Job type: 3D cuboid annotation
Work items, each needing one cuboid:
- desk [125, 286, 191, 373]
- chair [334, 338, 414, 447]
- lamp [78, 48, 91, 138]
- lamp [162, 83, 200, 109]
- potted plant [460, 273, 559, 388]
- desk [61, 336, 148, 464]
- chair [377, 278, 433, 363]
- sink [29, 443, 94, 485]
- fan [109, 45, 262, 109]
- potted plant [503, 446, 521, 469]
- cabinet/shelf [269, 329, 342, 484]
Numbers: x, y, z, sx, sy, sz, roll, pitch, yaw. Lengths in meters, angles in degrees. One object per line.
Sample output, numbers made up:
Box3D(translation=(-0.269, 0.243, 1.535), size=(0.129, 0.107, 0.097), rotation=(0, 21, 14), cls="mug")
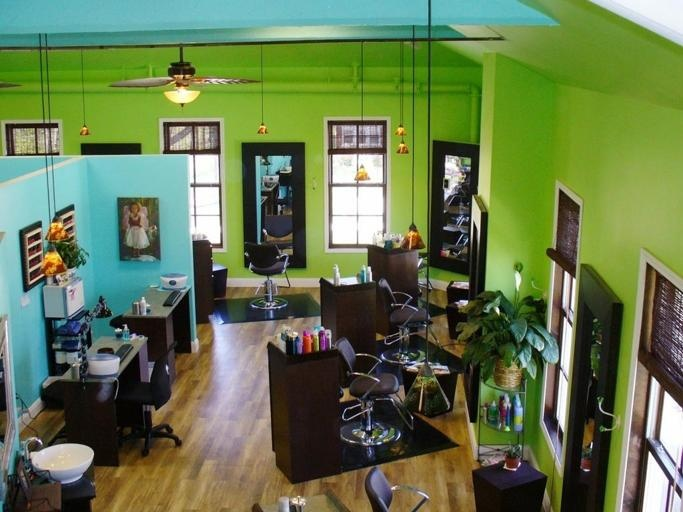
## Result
Box3D(translation=(-2.702, 1.034, 8.355), size=(0.398, 0.751, 1.110), rotation=(0, 17, -1), cls="desk")
Box3D(translation=(0.376, 1.711, 7.548), size=(1.131, 1.530, 1.101), rotation=(-1, 8, -3), cls="chair")
Box3D(translation=(-5.270, -3.252, 11.672), size=(0.232, 1.550, 0.941), rotation=(-7, 10, -24), cls="lamp")
Box3D(translation=(-1.801, -1.833, 6.444), size=(0.336, 0.215, 0.667), rotation=(-7, 10, -24), cls="lamp")
Box3D(translation=(1.739, 0.786, 5.905), size=(1.007, 1.299, 0.956), rotation=(-8, 10, -28), cls="potted plant")
Box3D(translation=(-2.734, 1.734, 6.730), size=(0.443, 0.779, 1.198), rotation=(0, 12, -1), cls="desk")
Box3D(translation=(1.003, 0.970, 9.673), size=(1.044, 1.726, 1.288), rotation=(-2, 9, -3), cls="chair")
Box3D(translation=(-2.627, 1.966, 5.401), size=(0.549, 0.242, 0.451), rotation=(3, 11, 32), cls="sink")
Box3D(translation=(-1.742, -2.051, 6.494), size=(1.500, 0.761, 1.609), rotation=(-1, 5, 1), cls="fan")
Box3D(translation=(1.667, 1.953, 5.634), size=(0.164, 0.236, 0.222), rotation=(1, 4, 8), cls="potted plant")
Box3D(translation=(-0.399, 1.681, 6.420), size=(0.793, 1.593, 0.452), rotation=(-4, 9, -6), cls="cabinet/shelf")
